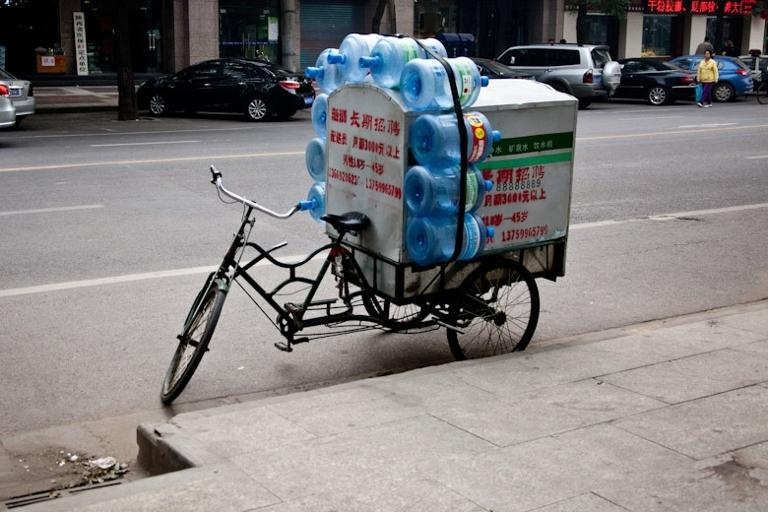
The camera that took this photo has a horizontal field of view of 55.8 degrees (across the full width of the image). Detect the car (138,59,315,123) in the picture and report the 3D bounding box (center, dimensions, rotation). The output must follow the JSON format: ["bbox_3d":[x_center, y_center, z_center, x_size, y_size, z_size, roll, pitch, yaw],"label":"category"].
[{"bbox_3d":[-4.944,-5.209,21.001,6.557,2.302,2.445,1,8,7],"label":"car"}]
